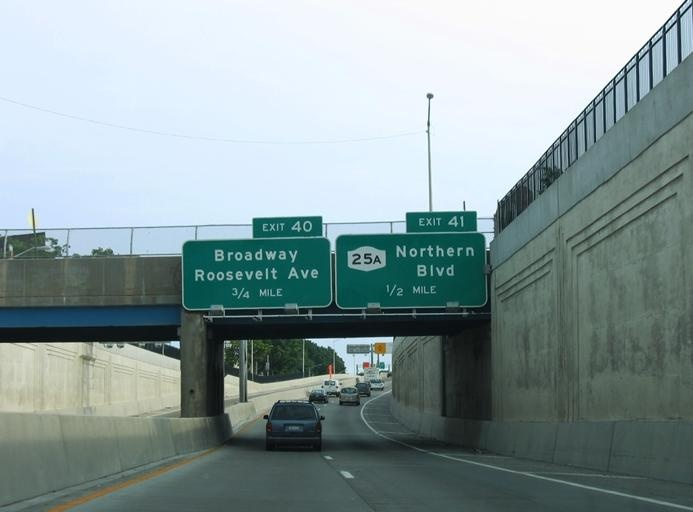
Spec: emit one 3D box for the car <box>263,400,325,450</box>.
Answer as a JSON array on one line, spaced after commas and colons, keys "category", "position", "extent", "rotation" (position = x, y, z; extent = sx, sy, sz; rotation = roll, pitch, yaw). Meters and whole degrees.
[{"category": "car", "position": [-2.071, 6.760, 39.020], "extent": [1.378, 1.350, 2.388], "rotation": [0, -1, -1]}]
